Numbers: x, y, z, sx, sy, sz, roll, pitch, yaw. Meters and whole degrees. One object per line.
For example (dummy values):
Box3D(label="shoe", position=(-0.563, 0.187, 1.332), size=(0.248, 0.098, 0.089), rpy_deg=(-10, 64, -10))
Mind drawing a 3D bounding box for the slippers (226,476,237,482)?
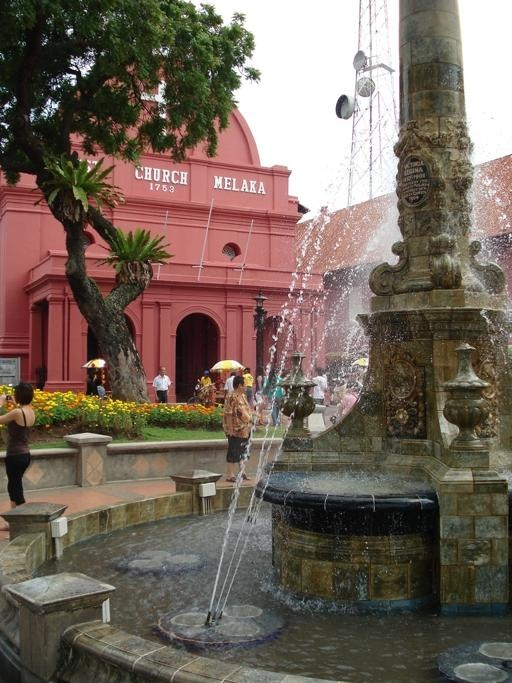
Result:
Box3D(label="slippers", position=(-0.390, 2.113, 11.554), size=(0.064, 0.064, 0.169), rpy_deg=(1, -8, -25))

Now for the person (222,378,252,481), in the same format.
Box3D(label="person", position=(-0.313, 1.343, 11.652), size=(0.485, 1.502, 0.937), rpy_deg=(-6, 1, -5))

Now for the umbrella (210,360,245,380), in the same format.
Box3D(label="umbrella", position=(-1.071, 0.840, 24.449), size=(0.984, 0.344, 0.999), rpy_deg=(-4, -1, 23))

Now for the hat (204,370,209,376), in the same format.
Box3D(label="hat", position=(-1.986, 1.224, 29.778), size=(0.289, 0.150, 0.380), rpy_deg=(3, 0, -2))
